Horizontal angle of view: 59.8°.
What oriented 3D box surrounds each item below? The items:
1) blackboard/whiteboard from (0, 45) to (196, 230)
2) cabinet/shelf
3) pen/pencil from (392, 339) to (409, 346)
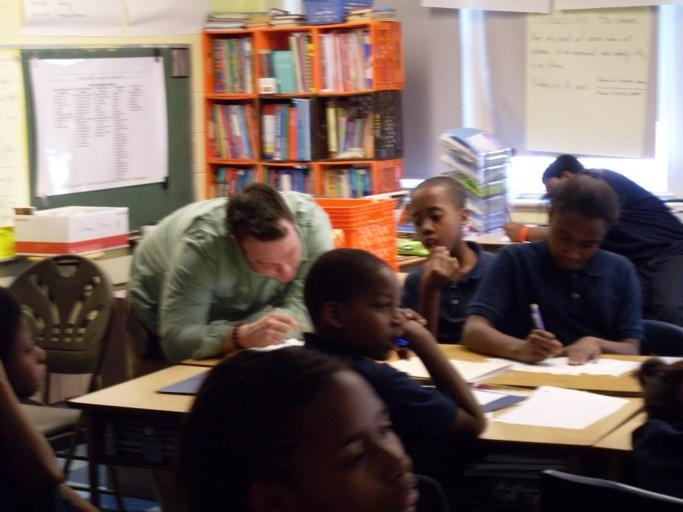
[{"bbox_3d":[-1.803,-0.864,4.275,0.072,1.585,1.803,4,7,35],"label":"blackboard/whiteboard"},{"bbox_3d":[-0.255,-1.258,4.952,2.170,1.779,0.664,2,8,22],"label":"cabinet/shelf"},{"bbox_3d":[0.147,0.211,1.458,0.012,0.019,0.035,-11,-15,33],"label":"pen/pencil"}]
